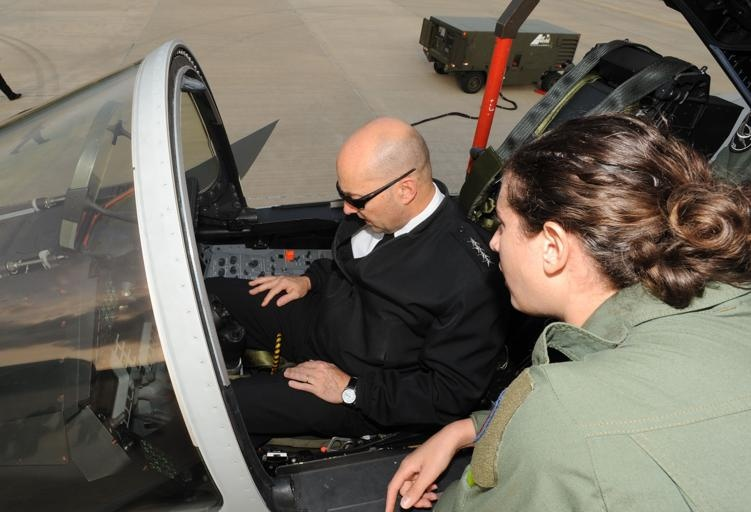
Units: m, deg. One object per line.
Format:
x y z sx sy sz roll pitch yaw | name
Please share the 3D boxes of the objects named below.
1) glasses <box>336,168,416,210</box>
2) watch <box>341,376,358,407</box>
0.011 -0.258 2.401 0.229 0.060 0.184 -28 24 -10 | glasses
-0.083 0.533 2.317 0.062 0.089 0.094 21 84 1 | watch
